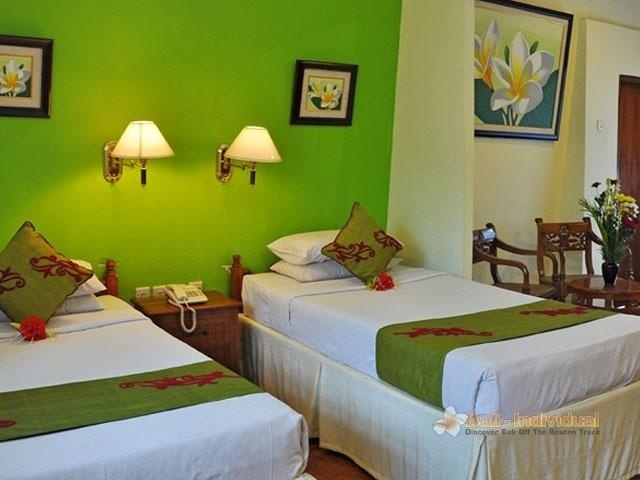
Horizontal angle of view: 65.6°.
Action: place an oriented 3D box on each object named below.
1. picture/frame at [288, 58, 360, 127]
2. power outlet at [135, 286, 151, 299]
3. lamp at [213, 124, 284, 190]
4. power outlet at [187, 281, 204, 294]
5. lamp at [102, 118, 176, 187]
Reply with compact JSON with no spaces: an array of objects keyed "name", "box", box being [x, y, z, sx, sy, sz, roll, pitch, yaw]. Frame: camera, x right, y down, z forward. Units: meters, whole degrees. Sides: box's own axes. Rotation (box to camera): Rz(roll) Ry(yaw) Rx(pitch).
[{"name":"picture/frame","box":[0.008,-1.305,4.358,0.579,0.561,0.048,3,12,-36]},{"name":"power outlet","box":[-1.353,0.398,3.790,0.087,0.092,0.021,4,3,-41]},{"name":"lamp","box":[-0.581,-0.648,3.967,0.510,0.521,0.444,13,17,24]},{"name":"power outlet","box":[-0.980,0.369,3.967,0.117,0.072,0.080,-4,3,-33]},{"name":"lamp","box":[-1.279,-0.603,3.531,0.458,0.451,0.392,5,16,2]}]
